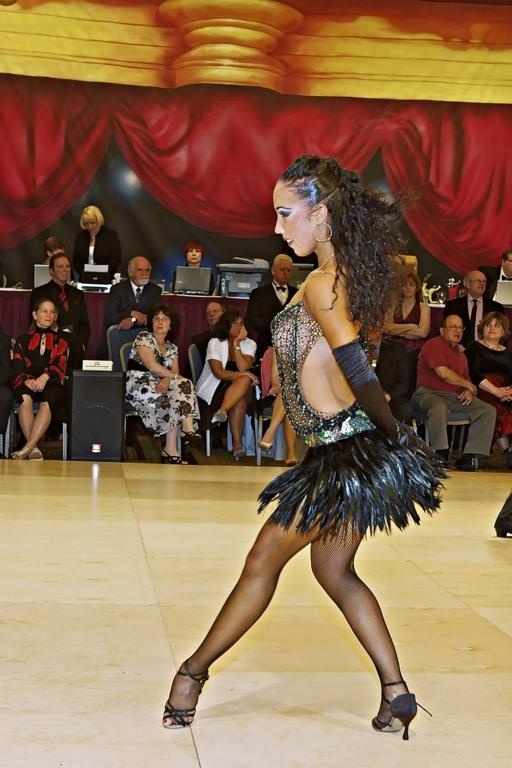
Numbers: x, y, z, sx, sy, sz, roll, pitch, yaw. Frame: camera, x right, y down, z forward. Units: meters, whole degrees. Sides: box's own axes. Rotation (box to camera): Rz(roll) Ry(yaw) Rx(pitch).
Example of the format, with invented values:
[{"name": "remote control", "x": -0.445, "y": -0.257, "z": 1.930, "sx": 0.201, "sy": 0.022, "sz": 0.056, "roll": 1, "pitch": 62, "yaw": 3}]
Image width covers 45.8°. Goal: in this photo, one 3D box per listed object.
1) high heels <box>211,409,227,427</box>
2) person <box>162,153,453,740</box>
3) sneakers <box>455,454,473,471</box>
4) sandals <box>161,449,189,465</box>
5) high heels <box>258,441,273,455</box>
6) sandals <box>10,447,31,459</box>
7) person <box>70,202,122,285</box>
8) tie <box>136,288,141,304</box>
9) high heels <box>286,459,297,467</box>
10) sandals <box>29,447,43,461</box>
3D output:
[{"name": "high heels", "x": -0.387, "y": 0.367, "z": 6.458, "sx": 0.102, "sy": 0.117, "sz": 0.272, "roll": 13, "pitch": -33, "yaw": -6}, {"name": "person", "x": 0.100, "y": 0.147, "z": 1.250, "sx": 0.487, "sy": 1.117, "sz": 0.508, "roll": -2, "pitch": -9, "yaw": 36}, {"name": "sneakers", "x": 2.241, "y": 0.843, "z": 6.493, "sx": 0.208, "sy": 0.174, "sz": 0.319, "roll": 0, "pitch": -8, "yaw": 18}, {"name": "sandals", "x": -0.841, "y": 0.768, "z": 6.199, "sx": 0.317, "sy": 0.119, "sz": 0.119, "roll": -6, "pitch": -7, "yaw": 39}, {"name": "high heels", "x": 0.102, "y": 0.636, "z": 6.117, "sx": 0.090, "sy": 0.085, "sz": 0.248, "roll": 9, "pitch": -22, "yaw": 9}, {"name": "sandals", "x": -2.272, "y": 0.674, "z": 5.903, "sx": 0.104, "sy": 0.074, "sz": 0.251, "roll": 1, "pitch": 4, "yaw": 2}, {"name": "person", "x": -2.189, "y": -1.948, "z": 8.317, "sx": 0.689, "sy": 1.130, "sz": 0.621, "roll": 4, "pitch": -8, "yaw": -5}, {"name": "tie", "x": -1.377, "y": -1.047, "z": 7.108, "sx": 0.067, "sy": 0.174, "sz": 0.036, "roll": 4, "pitch": -8, "yaw": -5}, {"name": "high heels", "x": 0.365, "y": 0.799, "z": 6.176, "sx": 0.069, "sy": 0.073, "sz": 0.179, "roll": -2, "pitch": 3, "yaw": -9}, {"name": "sandals", "x": -2.133, "y": 0.684, "z": 5.913, "sx": 0.131, "sy": 0.124, "sz": 0.191, "roll": 5, "pitch": -8, "yaw": -20}]
